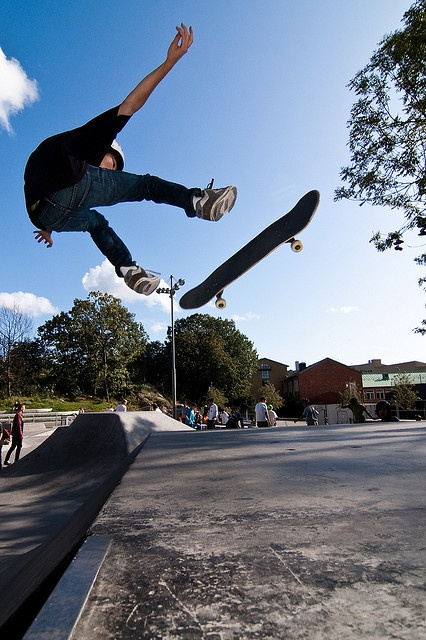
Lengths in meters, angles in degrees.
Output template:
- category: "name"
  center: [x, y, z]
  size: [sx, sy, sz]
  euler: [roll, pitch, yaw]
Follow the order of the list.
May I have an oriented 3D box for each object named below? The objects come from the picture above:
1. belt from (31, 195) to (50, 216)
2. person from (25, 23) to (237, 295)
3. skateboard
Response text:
- category: "belt"
  center: [-1.403, -0.914, 3.281]
  size: [0.231, 0.038, 0.073]
  euler: [-16, -13, 36]
- category: "person"
  center: [-0.912, -1.264, 3.782]
  size: [2.430, 1.181, 1.400]
  euler: [-33, -21, 34]
- category: "skateboard"
  center: [0.423, -0.927, 4.729]
  size: [0.303, 0.482, 1.986]
  euler: [31, -63, -33]
